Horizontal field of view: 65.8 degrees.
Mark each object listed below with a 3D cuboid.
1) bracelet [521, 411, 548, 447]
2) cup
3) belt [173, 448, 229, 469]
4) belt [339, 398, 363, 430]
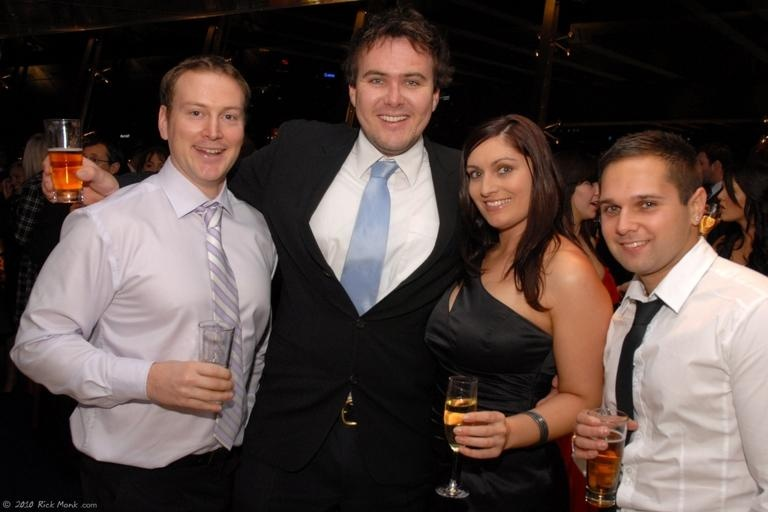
[{"bbox_3d":[0.715,0.812,2.796,0.116,0.132,0.053,-4,-6,43],"label":"bracelet"},{"bbox_3d":[0.942,0.853,2.520,0.129,0.402,0.166,12,17,40],"label":"cup"},{"bbox_3d":[-0.887,0.952,2.812,0.145,0.065,0.186,-4,-1,-6],"label":"belt"},{"bbox_3d":[-0.178,0.771,2.919,0.116,0.135,0.047,0,-7,-4],"label":"belt"}]
